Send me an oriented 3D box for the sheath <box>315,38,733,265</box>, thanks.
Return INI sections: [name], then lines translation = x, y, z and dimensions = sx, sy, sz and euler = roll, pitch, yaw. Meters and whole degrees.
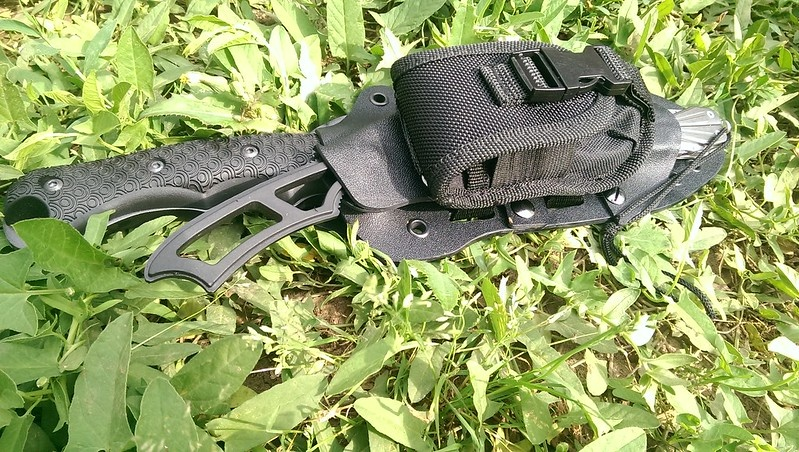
[sheath]
translation = 0.293, -0.196, 1.510
dimensions = 0.860, 0.276, 0.585
euler = -3, 71, -10
